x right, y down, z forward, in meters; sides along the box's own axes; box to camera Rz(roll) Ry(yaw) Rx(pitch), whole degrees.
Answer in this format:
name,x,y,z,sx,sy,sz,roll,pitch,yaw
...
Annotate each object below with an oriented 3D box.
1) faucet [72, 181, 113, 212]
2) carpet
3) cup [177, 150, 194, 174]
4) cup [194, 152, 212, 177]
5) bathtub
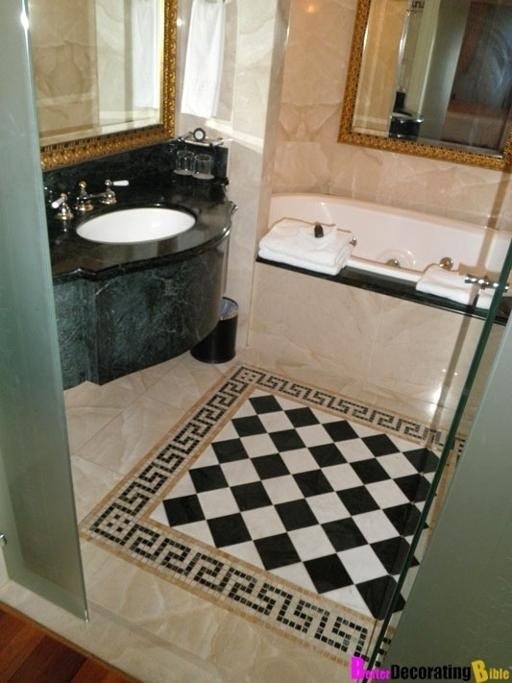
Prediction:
name,x,y,z,sx,sy,sz,roll,pitch,yaw
faucet,-0.566,-0.517,1.856,0.141,0.096,0.209,3,24,-7
carpet,0.089,0.461,1.885,0.945,0.146,1.104,16,25,20
cup,-0.300,-0.767,2.280,0.084,0.097,0.098,5,37,-6
cup,-0.222,-0.730,2.211,0.088,0.093,0.100,10,33,2
bathtub,0.579,-0.490,2.727,1.261,0.318,1.001,16,25,20
